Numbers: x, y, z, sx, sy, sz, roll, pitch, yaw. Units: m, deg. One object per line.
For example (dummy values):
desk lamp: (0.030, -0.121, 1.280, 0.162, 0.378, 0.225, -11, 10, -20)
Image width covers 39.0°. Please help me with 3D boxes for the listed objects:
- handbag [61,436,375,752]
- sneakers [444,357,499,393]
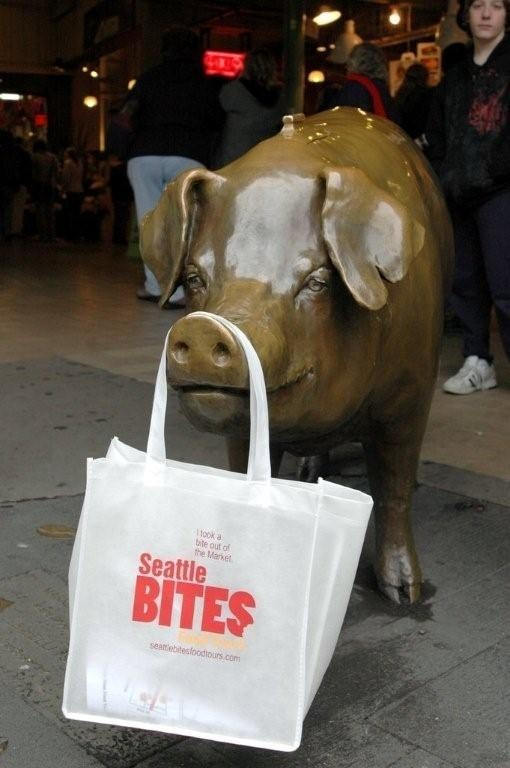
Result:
handbag: (-0.041, 0.294, 1.278, 0.499, 0.467, 0.537, 8, 19, 11)
sneakers: (1.272, -0.042, 4.240, 0.348, 0.170, 0.160, -6, 14, -32)
